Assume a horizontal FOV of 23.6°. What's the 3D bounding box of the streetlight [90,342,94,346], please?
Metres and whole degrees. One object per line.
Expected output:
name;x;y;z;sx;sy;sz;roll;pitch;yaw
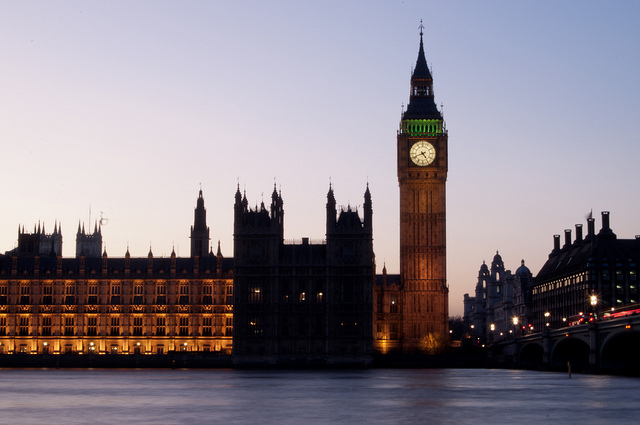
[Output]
streetlight;-52.198;30.394;348.535;0.624;0.700;1.047;-2;-12;-8

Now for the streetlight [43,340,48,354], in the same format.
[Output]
streetlight;-62.717;30.922;347.521;0.986;2.448;0.344;-2;-11;8
